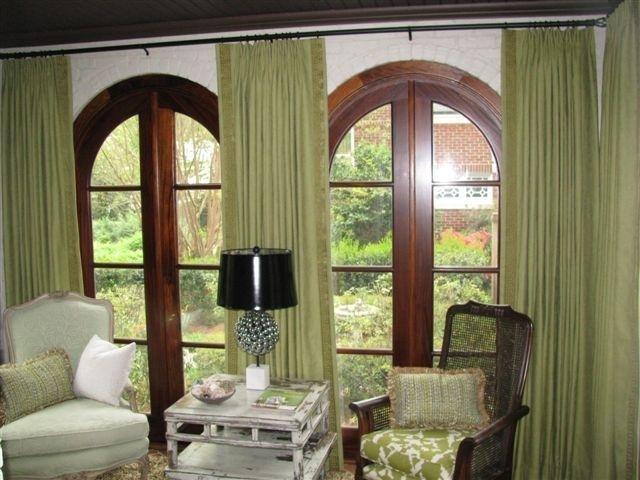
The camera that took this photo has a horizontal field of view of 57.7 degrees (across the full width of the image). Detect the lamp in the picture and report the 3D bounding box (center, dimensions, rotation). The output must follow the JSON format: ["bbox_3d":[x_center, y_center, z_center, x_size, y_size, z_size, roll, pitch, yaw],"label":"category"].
[{"bbox_3d":[-0.436,0.547,4.094,0.547,1.003,0.474,-2,2,-5],"label":"lamp"}]
